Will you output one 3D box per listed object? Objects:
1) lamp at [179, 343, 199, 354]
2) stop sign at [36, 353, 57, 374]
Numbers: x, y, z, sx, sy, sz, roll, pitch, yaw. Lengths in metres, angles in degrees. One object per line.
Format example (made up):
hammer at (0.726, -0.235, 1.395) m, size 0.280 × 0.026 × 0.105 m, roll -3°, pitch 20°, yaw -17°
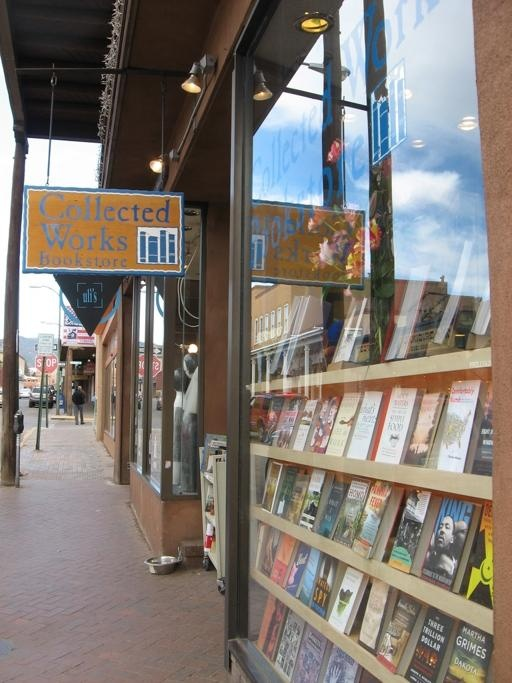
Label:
lamp at (-0.685, 0.077, 5.751) m, size 0.182 × 0.102 × 0.092 m, roll 0°, pitch -1°, yaw 1°
stop sign at (-8.043, 0.875, 21.946) m, size 0.857 × 1.239 × 0.171 m, roll 0°, pitch -2°, yaw -19°
